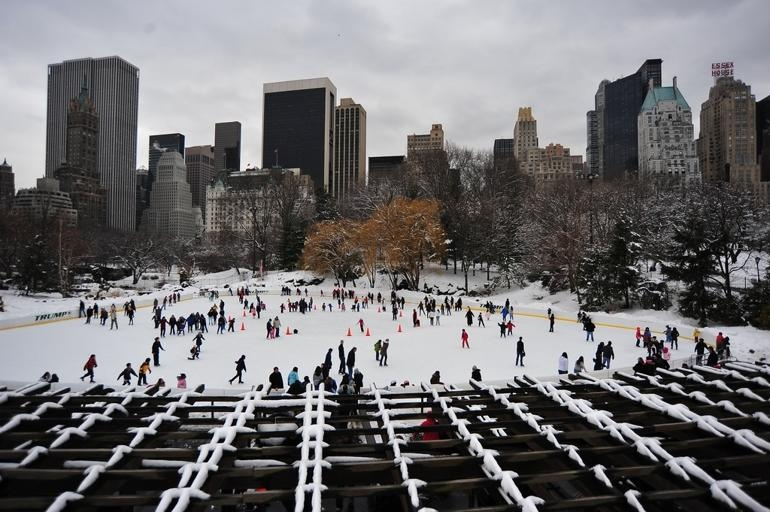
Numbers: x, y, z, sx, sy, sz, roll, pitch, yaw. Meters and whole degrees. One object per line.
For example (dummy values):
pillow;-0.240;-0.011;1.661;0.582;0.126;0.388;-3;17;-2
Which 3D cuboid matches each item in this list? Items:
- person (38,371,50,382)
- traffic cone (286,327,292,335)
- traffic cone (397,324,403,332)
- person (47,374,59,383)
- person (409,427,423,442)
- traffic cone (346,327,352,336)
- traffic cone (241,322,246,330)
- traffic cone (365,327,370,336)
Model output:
person;-27.764;10.045;58.149;0.587;0.933;0.907;8;-23;-13
traffic cone;-9.369;7.441;68.957;0.558;0.639;0.557;4;1;6
traffic cone;1.422;7.321;69.693;0.437;0.525;0.460;1;14;8
person;-26.710;10.048;57.319;0.444;0.835;0.777;-14;-9;36
person;2.335;13.191;52.137;0.958;1.031;0.668;-2;11;-2
traffic cone;-3.380;7.482;68.272;0.497;0.684;0.447;13;15;42
traffic cone;-13.964;7.133;70.042;0.485;0.576;0.521;2;4;34
traffic cone;-1.776;7.500;68.340;0.521;0.626;0.543;0;-5;17
